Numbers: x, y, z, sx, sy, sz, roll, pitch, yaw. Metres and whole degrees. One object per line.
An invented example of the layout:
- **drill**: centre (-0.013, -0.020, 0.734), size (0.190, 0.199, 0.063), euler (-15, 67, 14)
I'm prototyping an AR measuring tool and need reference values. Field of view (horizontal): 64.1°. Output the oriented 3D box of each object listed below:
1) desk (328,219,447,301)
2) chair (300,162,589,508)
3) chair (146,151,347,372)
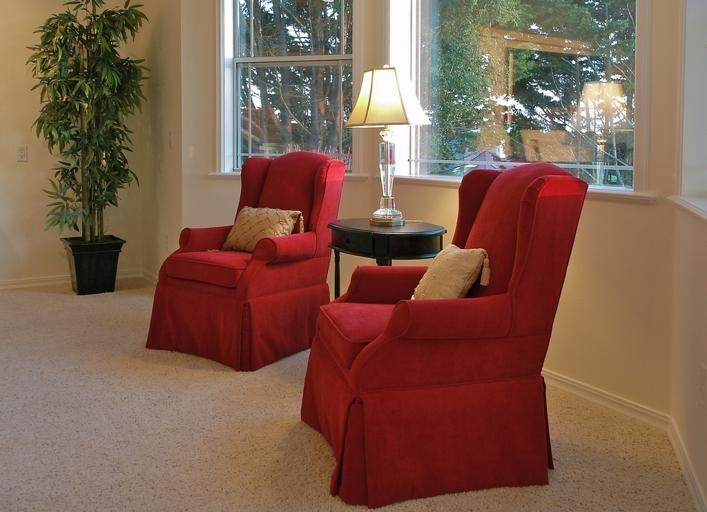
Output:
- **desk**: centre (0.193, -0.089, 3.431), size (0.483, 0.653, 0.633), euler (-4, 9, -33)
- **chair**: centre (0.388, 0.273, 2.500), size (1.102, 1.327, 0.757), euler (-4, 15, -15)
- **chair**: centre (-0.694, -0.047, 3.848), size (0.881, 1.370, 1.092), euler (8, 9, 32)
